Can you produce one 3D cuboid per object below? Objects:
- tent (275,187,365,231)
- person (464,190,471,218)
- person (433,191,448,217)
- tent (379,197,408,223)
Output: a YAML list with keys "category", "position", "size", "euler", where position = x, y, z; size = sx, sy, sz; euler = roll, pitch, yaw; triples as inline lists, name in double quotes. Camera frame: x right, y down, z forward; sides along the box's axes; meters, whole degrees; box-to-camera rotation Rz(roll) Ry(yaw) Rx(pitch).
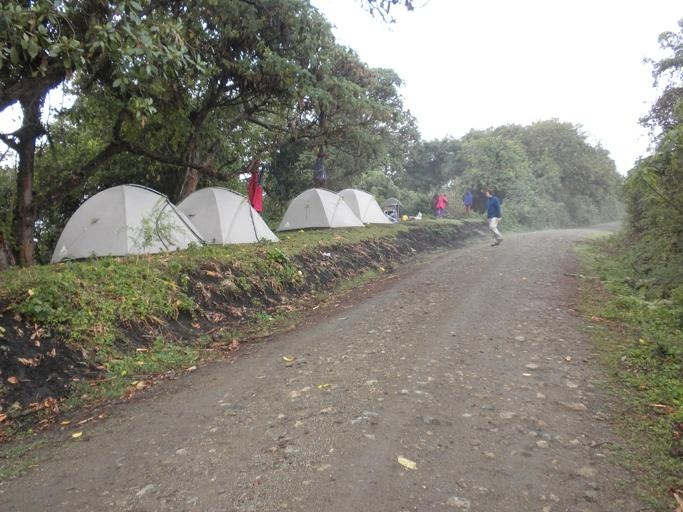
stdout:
- category: "tent"
  position: [-0.620, -1.853, 23.118]
  size: [2.142, 1.178, 2.245]
  euler: [0, 2, 35]
- category: "person"
  position: [7.877, -3.241, 33.529]
  size: [0.441, 1.490, 2.791]
  euler: [-2, 10, 13]
- category: "person"
  position: [5.981, -3.118, 32.473]
  size: [0.792, 1.519, 3.036]
  euler: [-2, 10, 11]
- category: "tent"
  position: [3.335, -2.921, 34.410]
  size: [1.984, 0.988, 1.655]
  euler: [2, 19, 2]
